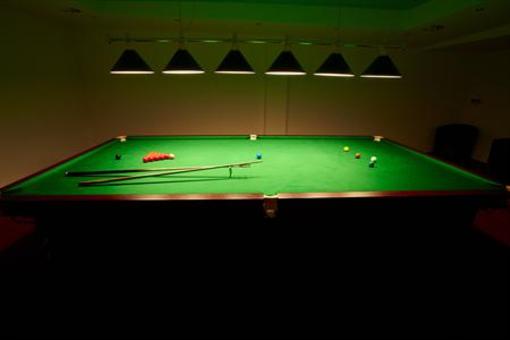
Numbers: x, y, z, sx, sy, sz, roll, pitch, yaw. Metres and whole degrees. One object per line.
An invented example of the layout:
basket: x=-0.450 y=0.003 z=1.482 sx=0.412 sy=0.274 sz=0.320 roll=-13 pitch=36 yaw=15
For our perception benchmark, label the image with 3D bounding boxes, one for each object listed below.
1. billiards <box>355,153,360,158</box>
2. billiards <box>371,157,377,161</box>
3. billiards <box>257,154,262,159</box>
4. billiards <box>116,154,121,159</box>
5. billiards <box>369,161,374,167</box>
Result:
billiards: x=1.392 y=-0.197 z=5.167 sx=0.064 sy=0.057 sz=0.058 roll=-9 pitch=-55 yaw=15
billiards: x=1.536 y=-0.137 z=4.931 sx=0.070 sy=0.077 sz=0.079 roll=-4 pitch=-76 yaw=15
billiards: x=0.053 y=-0.186 z=5.136 sx=0.065 sy=0.063 sz=0.067 roll=7 pitch=-70 yaw=30
billiards: x=-1.825 y=-0.177 z=5.080 sx=0.052 sy=0.060 sz=0.048 roll=28 pitch=-60 yaw=30
billiards: x=1.476 y=-0.067 z=4.815 sx=0.058 sy=0.063 sz=0.043 roll=6 pitch=-71 yaw=29
